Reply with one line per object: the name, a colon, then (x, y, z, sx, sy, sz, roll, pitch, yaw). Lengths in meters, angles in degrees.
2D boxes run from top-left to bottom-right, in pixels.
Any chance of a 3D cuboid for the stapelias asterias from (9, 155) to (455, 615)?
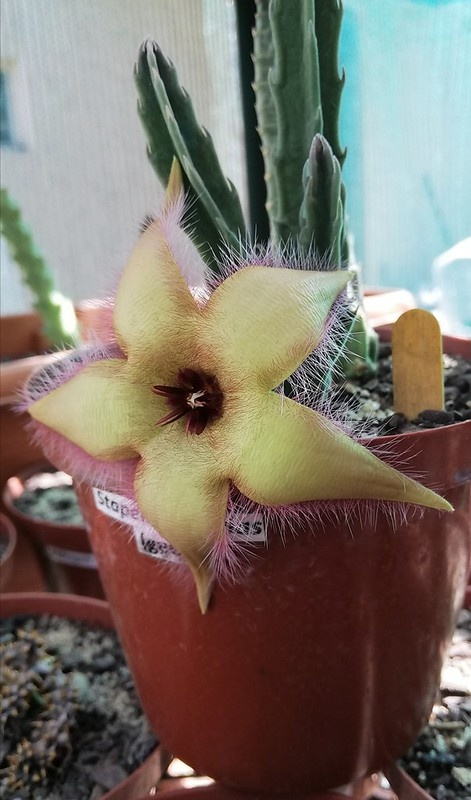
stapelias asterias: (-0.012, -0.006, 0.381, 0.253, 0.238, 0.110, 3, 20, 18)
